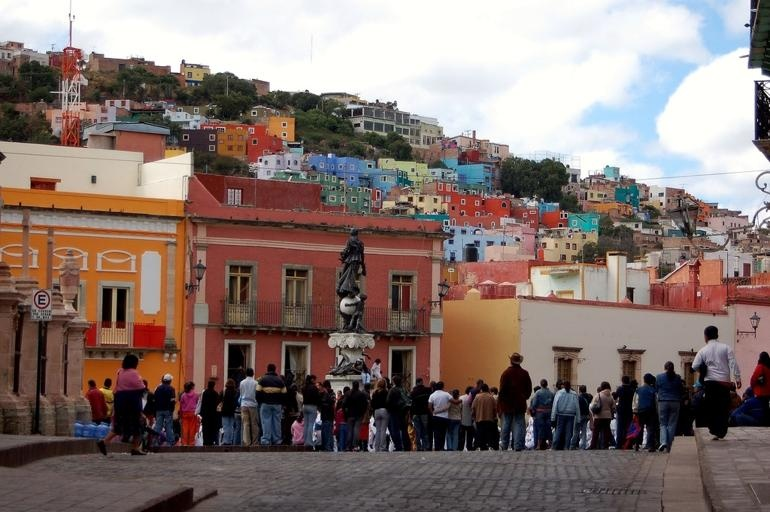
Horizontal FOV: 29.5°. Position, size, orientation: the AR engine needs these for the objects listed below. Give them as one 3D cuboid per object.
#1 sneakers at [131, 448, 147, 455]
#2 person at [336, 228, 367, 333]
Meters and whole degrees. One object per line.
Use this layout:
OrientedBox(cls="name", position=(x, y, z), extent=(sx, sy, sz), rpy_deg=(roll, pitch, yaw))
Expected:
OrientedBox(cls="sneakers", position=(-5.162, 4.189, 31.013), extent=(0.400, 0.143, 0.200), rpy_deg=(-2, 2, -29))
OrientedBox(cls="person", position=(-0.955, 0.690, 42.532), extent=(0.776, 2.983, 1.377), rpy_deg=(1, -6, -2))
